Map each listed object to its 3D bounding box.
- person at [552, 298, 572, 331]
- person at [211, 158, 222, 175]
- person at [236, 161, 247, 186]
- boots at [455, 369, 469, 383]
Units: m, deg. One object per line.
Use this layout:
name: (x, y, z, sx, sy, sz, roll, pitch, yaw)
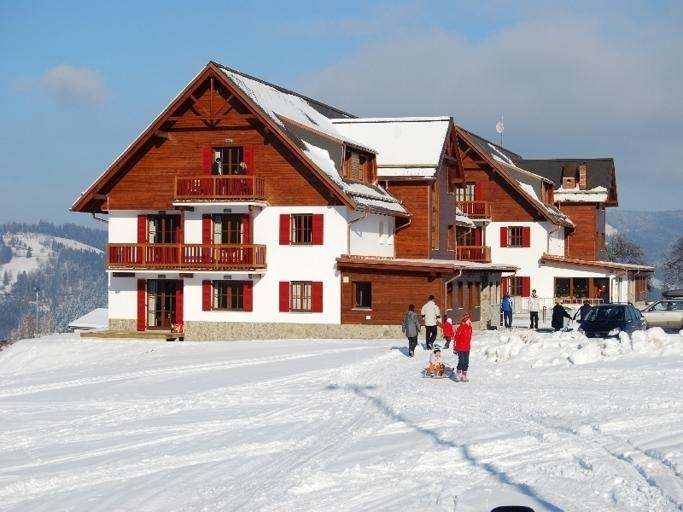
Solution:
person: (11.427, 3.046, 60.233, 1.064, 1.608, 0.692, 10, 18, 40)
person: (-6.056, -4.305, 56.529, 0.514, 0.812, 1.366, -4, 6, -6)
person: (-4.721, -3.934, 56.006, 0.472, 1.081, 1.603, -4, 6, -4)
boots: (4.098, 4.066, 39.967, 0.536, 0.552, 0.290, -1, 1, 32)
